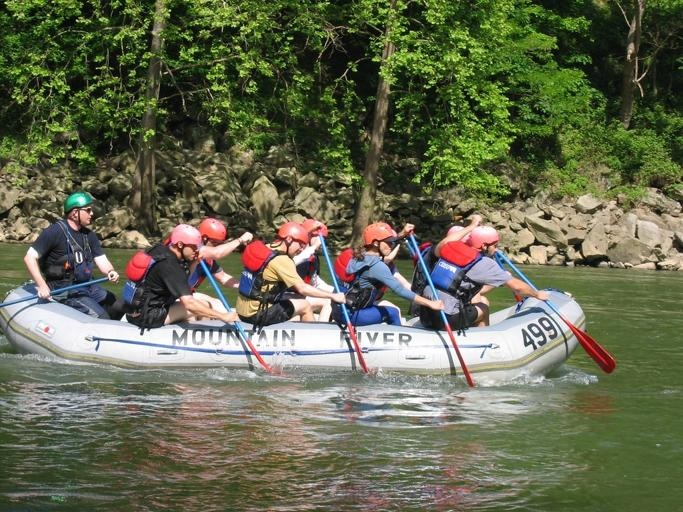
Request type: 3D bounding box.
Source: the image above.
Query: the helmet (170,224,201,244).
[{"bbox_3d":[-2.271,-0.310,14.299,0.421,0.245,0.273,9,16,-1],"label":"helmet"}]

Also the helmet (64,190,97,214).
[{"bbox_3d":[-4.043,-0.802,15.004,0.382,0.292,0.358,-6,4,-9],"label":"helmet"}]

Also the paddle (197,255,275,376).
[{"bbox_3d":[-1.583,0.961,14.903,0.265,2.329,0.343,-43,-3,-38],"label":"paddle"}]

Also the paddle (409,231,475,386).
[{"bbox_3d":[1.579,0.881,14.964,0.335,2.734,0.227,-38,-18,24],"label":"paddle"}]

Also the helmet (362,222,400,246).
[{"bbox_3d":[0.603,-0.327,15.051,0.549,0.248,0.349,6,-3,6],"label":"helmet"}]

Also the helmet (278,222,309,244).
[{"bbox_3d":[-0.733,-0.372,14.799,0.453,0.284,0.332,7,14,-12],"label":"helmet"}]

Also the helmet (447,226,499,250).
[{"bbox_3d":[2.074,-0.278,15.091,0.653,0.204,0.393,6,9,-5],"label":"helmet"}]

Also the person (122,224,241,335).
[{"bbox_3d":[-2.562,0.326,14.470,1.603,1.538,0.694,-2,6,38],"label":"person"}]
